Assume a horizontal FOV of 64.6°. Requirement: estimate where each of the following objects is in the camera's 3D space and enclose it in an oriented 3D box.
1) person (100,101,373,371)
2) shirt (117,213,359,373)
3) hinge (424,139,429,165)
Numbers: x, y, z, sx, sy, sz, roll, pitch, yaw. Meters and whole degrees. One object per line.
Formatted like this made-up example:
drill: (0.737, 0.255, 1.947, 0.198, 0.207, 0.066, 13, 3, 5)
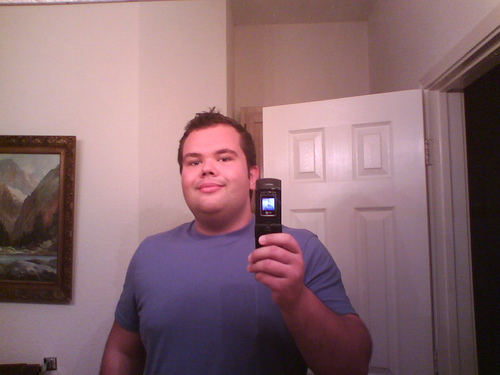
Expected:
person: (-0.075, 0.206, 1.523, 0.941, 1.223, 0.631, -5, -13, 10)
shirt: (-0.078, 0.398, 1.431, 0.601, 0.510, 0.210, -3, -7, 6)
hinge: (0.775, -0.158, 1.742, 0.016, 0.113, 0.006, 0, -2, -14)
